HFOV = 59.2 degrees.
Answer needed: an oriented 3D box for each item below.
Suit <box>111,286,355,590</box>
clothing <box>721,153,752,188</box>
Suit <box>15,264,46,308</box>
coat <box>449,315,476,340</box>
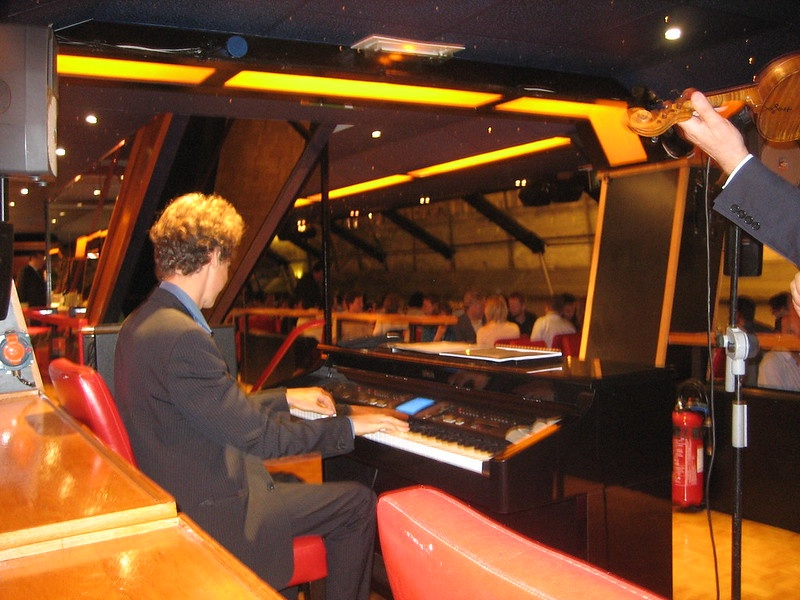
[{"bbox_3d":[-0.509,0.577,2.746,0.754,1.350,0.630,-11,15,-22],"label":"Suit"},{"bbox_3d":[1.020,-0.390,2.134,0.076,0.098,0.054,10,5,39],"label":"clothing"},{"bbox_3d":[-4.440,-0.216,8.400,0.175,0.498,0.499,3,7,-9],"label":"Suit"},{"bbox_3d":[0.699,0.310,7.970,0.254,0.208,0.397,10,5,36],"label":"coat"}]
